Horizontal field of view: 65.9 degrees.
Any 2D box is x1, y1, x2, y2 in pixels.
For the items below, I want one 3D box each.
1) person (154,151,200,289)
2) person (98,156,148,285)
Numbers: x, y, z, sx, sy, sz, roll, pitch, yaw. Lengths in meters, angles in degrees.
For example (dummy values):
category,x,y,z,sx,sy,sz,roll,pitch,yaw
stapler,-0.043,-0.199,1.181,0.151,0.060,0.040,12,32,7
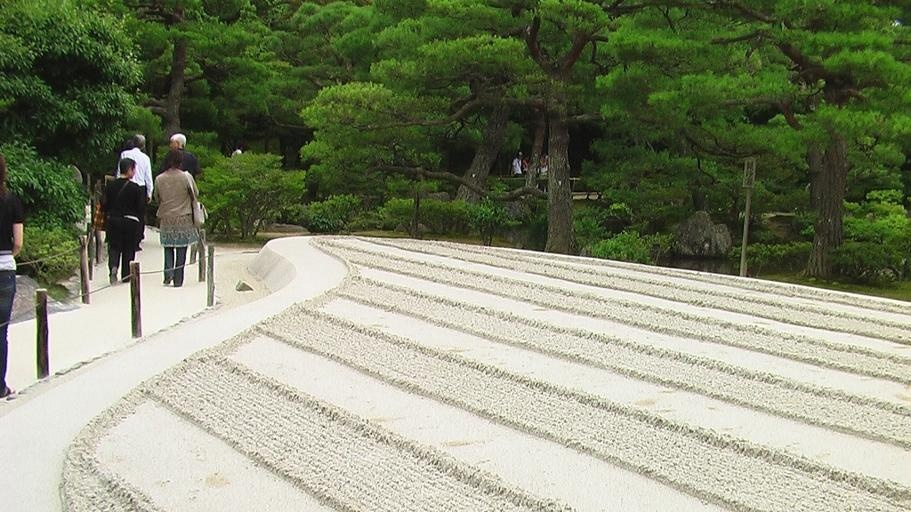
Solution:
category,x,y,z,sx,sy,sz,roll,pitch,yaw
person,-5.305,-0.685,13.366,0.694,2.628,0.872,-6,13,-37
person,-6.289,-0.631,13.370,0.688,2.460,1.039,-5,12,-33
